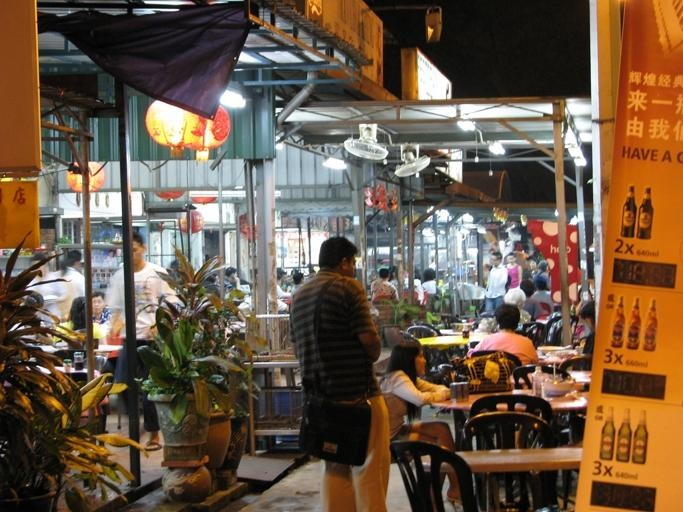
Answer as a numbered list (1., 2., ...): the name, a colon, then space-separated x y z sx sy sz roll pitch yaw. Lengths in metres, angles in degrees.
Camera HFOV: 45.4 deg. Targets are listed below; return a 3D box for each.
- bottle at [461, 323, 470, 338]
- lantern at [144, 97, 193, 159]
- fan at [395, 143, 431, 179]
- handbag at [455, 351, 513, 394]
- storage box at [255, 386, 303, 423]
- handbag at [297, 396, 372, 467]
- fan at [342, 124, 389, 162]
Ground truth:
1. bottle: 1.688 0.967 11.035 0.121 0.224 0.126 0 -6 0
2. lantern: -1.745 -1.265 8.212 0.427 0.565 0.426 -15 3 -35
3. fan: 1.081 -1.601 12.859 0.539 0.258 0.572 -8 -9 28
4. handbag: 1.334 0.982 7.203 0.455 0.366 0.263 -4 12 27
5. storage box: -0.690 1.686 9.278 0.317 0.445 0.627 -3 -6 8
6. handbag: -0.051 1.119 5.681 0.538 0.541 0.369 12 25 -1
7. fan: 0.321 -1.702 11.525 0.536 0.663 0.578 3 -17 4
